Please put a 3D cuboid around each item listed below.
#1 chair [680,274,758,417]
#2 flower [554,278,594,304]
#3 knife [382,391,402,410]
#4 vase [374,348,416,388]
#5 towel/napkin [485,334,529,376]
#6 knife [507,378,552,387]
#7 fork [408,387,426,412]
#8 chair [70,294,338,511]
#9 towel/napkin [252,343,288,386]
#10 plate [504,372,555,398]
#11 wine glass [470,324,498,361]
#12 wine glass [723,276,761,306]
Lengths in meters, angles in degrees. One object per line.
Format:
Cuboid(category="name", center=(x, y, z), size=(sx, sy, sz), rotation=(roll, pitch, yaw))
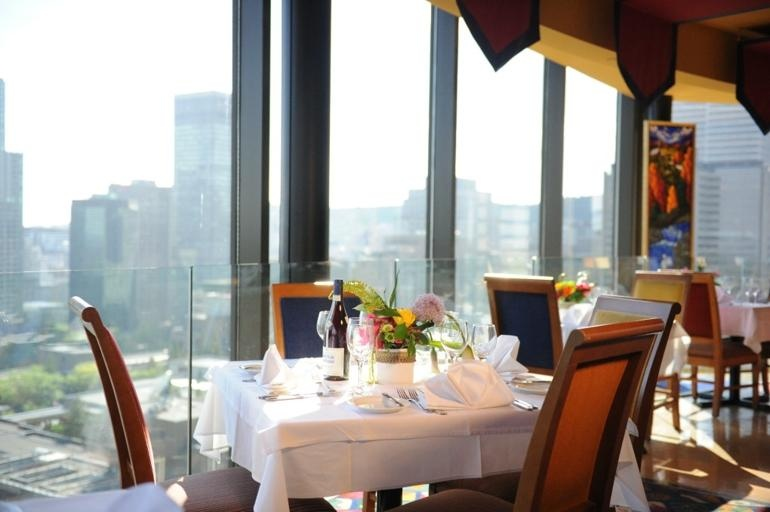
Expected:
Cuboid(category="chair", center=(3.207, 0.825, 6.640), size=(0.709, 1.211, 0.780), rotation=(1, -1, 8))
Cuboid(category="flower", center=(1.706, 0.279, 6.195), size=(0.267, 0.198, 0.280), rotation=(-1, 0, 16))
Cuboid(category="knife", center=(0.034, 0.708, 3.402), size=(0.037, 0.024, 0.157), rotation=(2, 11, -15))
Cuboid(category="vase", center=(0.055, 0.593, 3.807), size=(0.239, 0.195, 0.253), rotation=(1, 0, -6))
Cuboid(category="towel/napkin", center=(0.693, 0.565, 3.949), size=(0.195, 0.259, 0.092), rotation=(-2, -33, 4))
Cuboid(category="knife", center=(0.777, 0.662, 3.666), size=(0.121, 0.022, 0.128), rotation=(-2, 2, -2))
Cuboid(category="fork", center=(0.159, 0.721, 3.470), size=(0.048, 0.031, 0.205), rotation=(-13, 14, -3))
Cuboid(category="chair", center=(-1.099, 0.726, 4.147), size=(1.262, 1.769, 0.958), rotation=(-1, 5, -21))
Cuboid(category="towel/napkin", center=(-0.572, 0.554, 3.638), size=(0.175, 0.198, 0.189), rotation=(3, 2, 24))
Cuboid(category="plate", center=(0.740, 0.667, 3.578), size=(0.170, 0.031, 0.180), rotation=(-8, 6, -15))
Cuboid(category="wine glass", center=(0.560, 0.510, 3.888), size=(0.152, 0.265, 0.158), rotation=(0, 0, -20))
Cuboid(category="wine glass", center=(3.839, 0.382, 7.419), size=(0.256, 0.299, 0.257), rotation=(-1, 0, -4))
